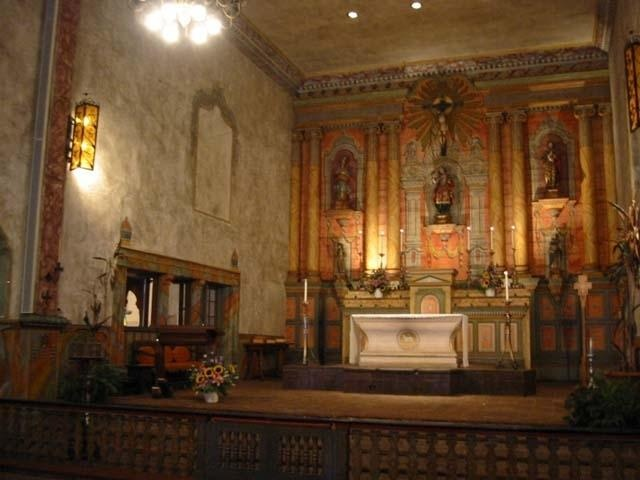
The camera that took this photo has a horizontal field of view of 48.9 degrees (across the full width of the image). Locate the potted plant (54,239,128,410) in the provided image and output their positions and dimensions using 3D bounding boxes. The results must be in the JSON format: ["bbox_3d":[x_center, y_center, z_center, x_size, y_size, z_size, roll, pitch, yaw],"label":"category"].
[{"bbox_3d":[-3.794,1.406,12.392,1.117,2.824,1.357,-11,-17,43],"label":"potted plant"}]

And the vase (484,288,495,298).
[{"bbox_3d":[4.084,1.262,16.841,0.175,0.223,0.190,2,-17,7],"label":"vase"}]

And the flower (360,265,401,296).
[{"bbox_3d":[1.635,1.090,18.589,0.757,0.562,0.802,-2,5,-2],"label":"flower"}]

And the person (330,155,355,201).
[{"bbox_3d":[0.665,-1.699,20.050,0.705,1.714,0.489,0,-12,3],"label":"person"}]

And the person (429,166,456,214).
[{"bbox_3d":[3.352,-1.392,19.176,0.586,1.438,0.515,-2,-12,9],"label":"person"}]

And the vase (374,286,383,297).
[{"bbox_3d":[1.508,1.323,18.158,0.199,0.307,0.214,-2,-14,16],"label":"vase"}]

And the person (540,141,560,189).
[{"bbox_3d":[6.066,-1.917,18.498,0.412,1.418,0.452,-4,-13,21],"label":"person"}]

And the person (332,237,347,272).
[{"bbox_3d":[0.557,0.443,19.724,0.402,1.011,0.251,0,-12,-2],"label":"person"}]

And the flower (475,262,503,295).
[{"bbox_3d":[4.305,0.937,17.331,0.618,0.912,0.702,2,-5,-9],"label":"flower"}]

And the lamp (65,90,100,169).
[{"bbox_3d":[-4.216,-1.897,12.476,0.492,1.336,0.542,6,-13,-24],"label":"lamp"}]
